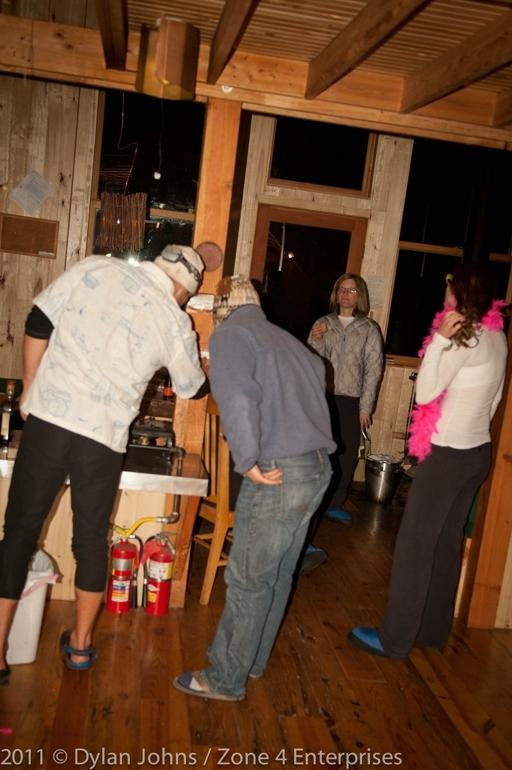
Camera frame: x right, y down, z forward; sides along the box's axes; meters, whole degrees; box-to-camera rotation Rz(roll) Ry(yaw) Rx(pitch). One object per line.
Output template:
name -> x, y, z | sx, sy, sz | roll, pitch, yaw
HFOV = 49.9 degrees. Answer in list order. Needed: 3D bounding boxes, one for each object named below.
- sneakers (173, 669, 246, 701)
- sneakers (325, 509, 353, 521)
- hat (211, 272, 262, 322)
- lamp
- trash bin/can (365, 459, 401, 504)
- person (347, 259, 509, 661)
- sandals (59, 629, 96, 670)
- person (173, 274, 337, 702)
sneakers -> -0.147, 1.016, 1.904 | 0.245, 0.075, 0.096 | 9, -10, 10
sneakers -> 0.660, 1.014, 4.299 | 0.087, 0.069, 0.165 | 8, -10, -32
hat -> -0.069, -0.312, 1.961 | 0.129, 0.189, 0.190 | 0, -3, 1
lamp -> -0.394, -1.408, 2.479 | 0.214, 0.304, 0.298 | 5, -5, -14
trash bin/can -> 1.113, 0.858, 5.106 | 0.359, 0.397, 0.379 | 6, 2, 11
person -> 0.750, 0.354, 2.326 | 0.398, 1.625, 0.537 | 8, 0, 34
sandals -> -0.647, 0.949, 2.008 | 0.082, 0.068, 0.159 | 1, 7, -6
person -> -0.030, 0.361, 1.834 | 0.472, 1.349, 0.514 | 8, 0, -27
